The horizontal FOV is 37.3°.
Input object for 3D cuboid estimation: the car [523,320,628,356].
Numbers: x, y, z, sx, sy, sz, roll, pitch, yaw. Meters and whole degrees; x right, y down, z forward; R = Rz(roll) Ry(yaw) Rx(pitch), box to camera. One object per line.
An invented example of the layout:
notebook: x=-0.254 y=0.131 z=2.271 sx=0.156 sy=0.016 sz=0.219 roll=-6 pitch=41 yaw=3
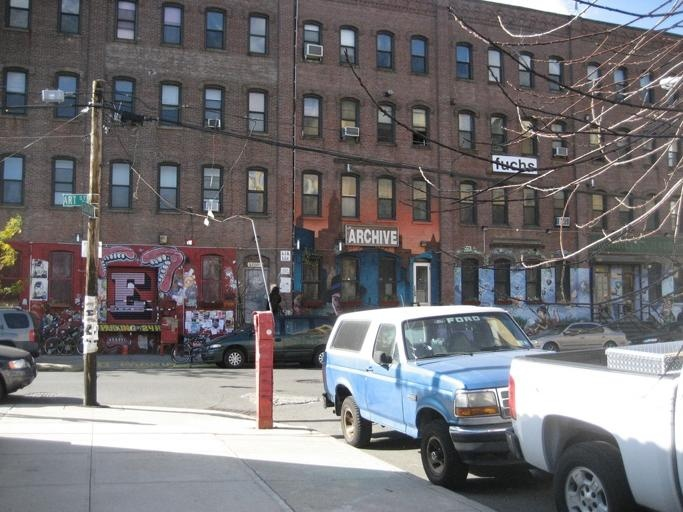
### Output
car: x=8.375 y=2.913 z=35.960 sx=3.912 sy=1.375 sz=1.737 roll=2 pitch=-8 yaw=-13

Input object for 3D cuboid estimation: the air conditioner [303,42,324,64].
air conditioner: x=-1.266 y=-8.748 z=43.885 sx=1.126 sy=1.064 sz=0.631 roll=2 pitch=-8 yaw=-20

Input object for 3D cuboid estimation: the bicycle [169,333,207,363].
bicycle: x=-5.914 y=3.651 z=39.478 sx=1.764 sy=1.166 sz=0.911 roll=0 pitch=-2 yaw=10

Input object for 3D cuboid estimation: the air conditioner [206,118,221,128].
air conditioner: x=-5.357 y=-5.542 z=42.356 sx=0.551 sy=0.492 sz=0.820 roll=0 pitch=-6 yaw=-10

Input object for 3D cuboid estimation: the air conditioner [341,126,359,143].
air conditioner: x=0.369 y=-5.337 z=44.125 sx=0.916 sy=0.800 sz=0.532 roll=0 pitch=-3 yaw=-26

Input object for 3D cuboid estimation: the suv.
suv: x=-2.516 y=3.122 z=36.585 sx=4.964 sy=1.783 sz=1.844 roll=0 pitch=-1 yaw=-10

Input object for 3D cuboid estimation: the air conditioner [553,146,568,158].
air conditioner: x=10.215 y=-4.871 z=47.374 sx=0.836 sy=0.636 sz=0.467 roll=2 pitch=-1 yaw=-16
